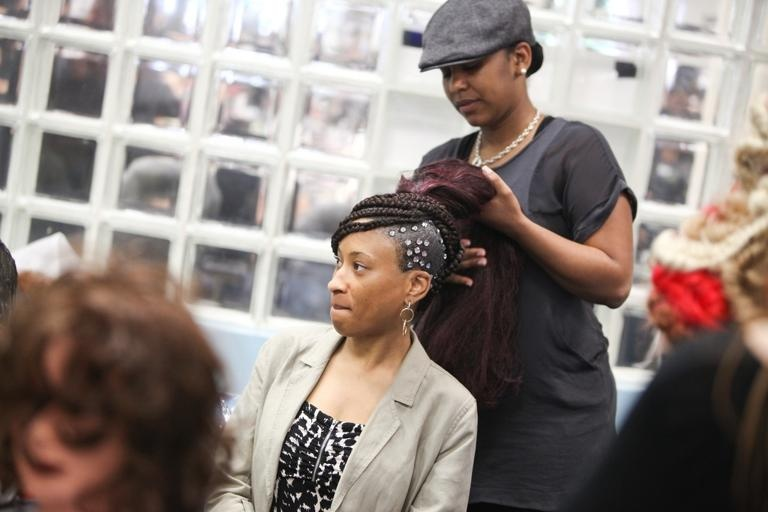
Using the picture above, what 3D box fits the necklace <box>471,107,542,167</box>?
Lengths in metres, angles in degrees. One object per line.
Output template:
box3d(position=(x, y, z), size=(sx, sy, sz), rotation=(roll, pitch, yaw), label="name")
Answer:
box3d(position=(0.362, -0.328, 3.097), size=(0.032, 0.211, 0.165), rotation=(21, 19, -44), label="necklace")
